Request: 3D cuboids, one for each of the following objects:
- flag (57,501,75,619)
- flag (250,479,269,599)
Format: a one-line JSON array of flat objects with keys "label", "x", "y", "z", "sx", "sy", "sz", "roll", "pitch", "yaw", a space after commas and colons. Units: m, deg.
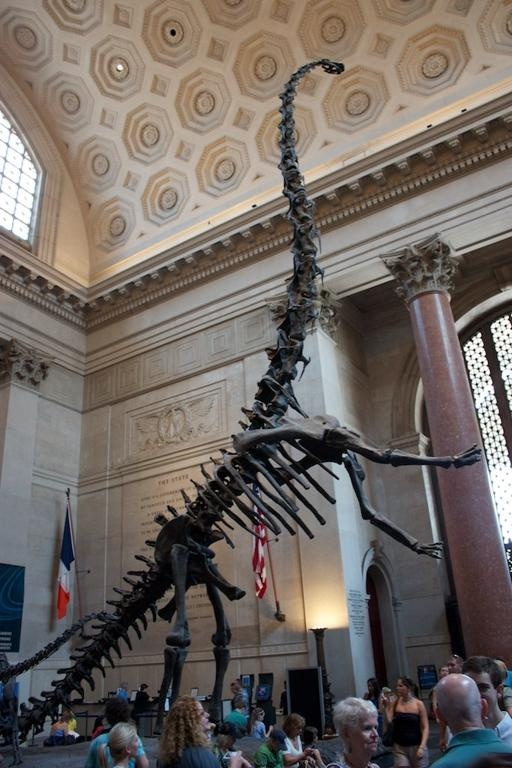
[{"label": "flag", "x": -3.473, "y": 3.106, "z": 10.451, "sx": 0.294, "sy": 2.164, "sz": 0.663, "roll": 2, "pitch": -23, "yaw": -18}, {"label": "flag", "x": 0.042, "y": 2.320, "z": 8.172, "sx": 0.264, "sy": 1.656, "sz": 0.205, "roll": 0, "pitch": 23, "yaw": 5}]
